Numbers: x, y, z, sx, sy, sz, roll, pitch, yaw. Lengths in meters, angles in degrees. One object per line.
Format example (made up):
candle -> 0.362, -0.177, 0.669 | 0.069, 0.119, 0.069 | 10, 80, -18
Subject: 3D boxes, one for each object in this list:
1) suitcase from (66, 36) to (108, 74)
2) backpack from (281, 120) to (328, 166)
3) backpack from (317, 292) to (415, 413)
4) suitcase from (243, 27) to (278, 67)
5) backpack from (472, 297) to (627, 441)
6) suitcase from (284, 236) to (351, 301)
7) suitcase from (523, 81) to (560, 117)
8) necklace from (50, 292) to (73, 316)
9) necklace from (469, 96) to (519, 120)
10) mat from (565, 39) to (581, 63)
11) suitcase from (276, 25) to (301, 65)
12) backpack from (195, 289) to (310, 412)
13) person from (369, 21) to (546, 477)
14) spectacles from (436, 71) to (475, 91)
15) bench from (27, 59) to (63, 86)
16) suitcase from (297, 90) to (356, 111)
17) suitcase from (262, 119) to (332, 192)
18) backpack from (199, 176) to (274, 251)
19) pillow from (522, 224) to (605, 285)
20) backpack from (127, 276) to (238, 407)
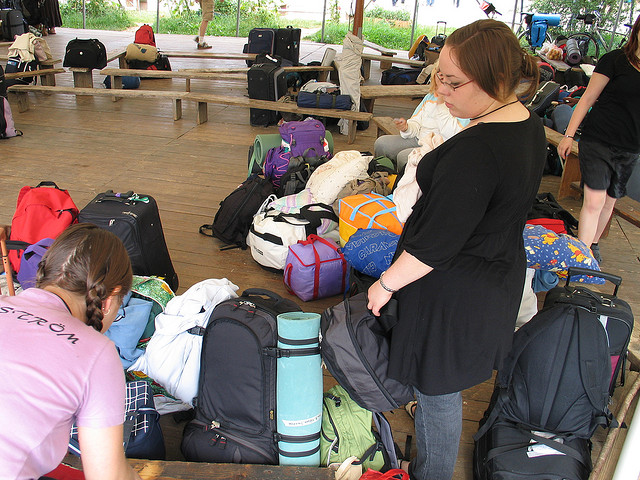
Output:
suitcase -> -3.549, -2.800, 7.202 | 0.694, 0.523, 0.617 | -6, 18, -37
backpack -> -0.144, -0.834, 4.325 | 0.409, 0.489, 0.461 | -7, 4, -17
backpack -> 0.155, 0.388, 1.780 | 0.249, 0.469, 0.367 | -11, 23, -31
suitcase -> -1.163, -3.517, 9.005 | 0.639, 0.820, 0.467 | 5, -20, -9
backpack -> 0.964, 0.576, 2.006 | 0.546, 0.581, 0.260 | 5, 20, 11
suitcase -> -0.020, 0.137, 3.018 | 0.429, 0.396, 0.347 | -9, 27, -24
suitcase -> 2.660, -1.650, 5.592 | 0.279, 0.396, 0.438 | 9, 21, 22
necklace -> -0.712, 0.177, 1.291 | 0.062, 0.057, 0.015 | 18, 4, -9
necklace -> 0.557, -0.403, 1.471 | 0.157, 0.064, 0.077 | 0, 19, -3
mat -> 4.383, -3.239, 8.147 | 0.276, 0.385, 0.756 | 11, 21, 25
suitcase -> -0.592, -3.789, 9.224 | 0.452, 0.704, 0.449 | -12, 34, -28
backpack -> -0.299, 0.553, 2.158 | 0.434, 0.618, 0.375 | 8, 7, 18
person -> 0.442, -0.070, 1.517 | 0.511, 1.164, 0.315 | 6, 20, 12
spectacles -> 0.401, -0.488, 1.454 | 0.056, 0.057, 0.159 | -6, 20, -19
bench -> -4.153, -2.569, 7.209 | 0.449, 0.420, 0.436 | -2, 18, -3
suitcase -> 0.075, -1.704, 5.799 | 0.483, 0.170, 0.289 | 2, 23, -3
suitcase -> -0.234, -0.834, 4.247 | 0.551, 0.675, 0.595 | -11, 31, -31
backpack -> -0.658, -0.255, 3.805 | 0.640, 0.523, 0.492 | -6, 24, -42
pillow -> 1.364, 0.059, 2.807 | 0.520, 0.166, 0.452 | 7, 38, -3
backpack -> -0.632, 0.429, 2.152 | 0.442, 0.538, 0.202 | 7, -24, 31
